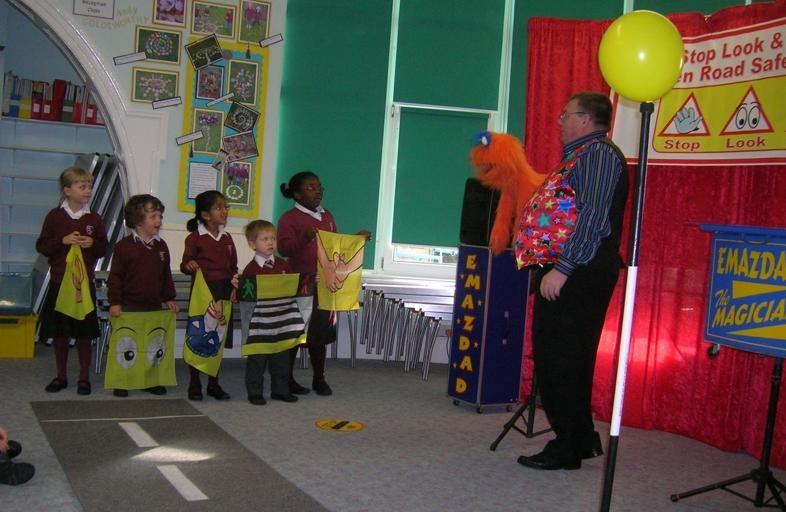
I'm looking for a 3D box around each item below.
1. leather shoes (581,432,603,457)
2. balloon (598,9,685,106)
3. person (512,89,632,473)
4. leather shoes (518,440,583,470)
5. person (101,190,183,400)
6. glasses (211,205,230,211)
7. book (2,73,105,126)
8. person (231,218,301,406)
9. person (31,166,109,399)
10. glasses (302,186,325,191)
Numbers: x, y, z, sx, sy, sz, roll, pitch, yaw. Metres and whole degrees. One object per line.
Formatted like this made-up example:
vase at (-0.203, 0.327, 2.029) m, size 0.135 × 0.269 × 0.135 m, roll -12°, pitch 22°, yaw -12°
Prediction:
leather shoes at (1.299, 1.227, 4.629) m, size 0.148 × 0.159 × 0.146 m, roll -3°, pitch 1°, yaw -15°
balloon at (1.376, -1.075, 4.054) m, size 0.507 × 0.623 × 0.524 m, roll 2°, pitch 4°, yaw 6°
person at (1.115, 0.166, 4.480) m, size 0.660 × 2.409 × 0.458 m, roll 5°, pitch 7°, yaw 16°
leather shoes at (1.036, 1.295, 4.596) m, size 0.402 × 0.178 × 0.169 m, roll 2°, pitch -3°, yaw -1°
person at (-1.929, 0.309, 5.383) m, size 0.508 × 1.524 × 0.289 m, roll 1°, pitch 8°, yaw -19°
glasses at (-1.319, -0.376, 5.420) m, size 0.080 × 0.051 × 0.176 m, roll 5°, pitch 8°, yaw 12°
book at (-3.982, -1.821, 8.188) m, size 1.028 × 0.524 × 0.176 m, roll 0°, pitch 8°, yaw -20°
person at (-0.938, 0.427, 5.397) m, size 0.521 × 1.367 × 0.345 m, roll 1°, pitch 7°, yaw -13°
person at (-2.499, 0.182, 5.409) m, size 0.481 × 1.706 × 0.539 m, roll 1°, pitch 7°, yaw -14°
glasses at (-0.642, -0.525, 5.592) m, size 0.109 × 0.038 × 0.112 m, roll -2°, pitch -1°, yaw -34°
